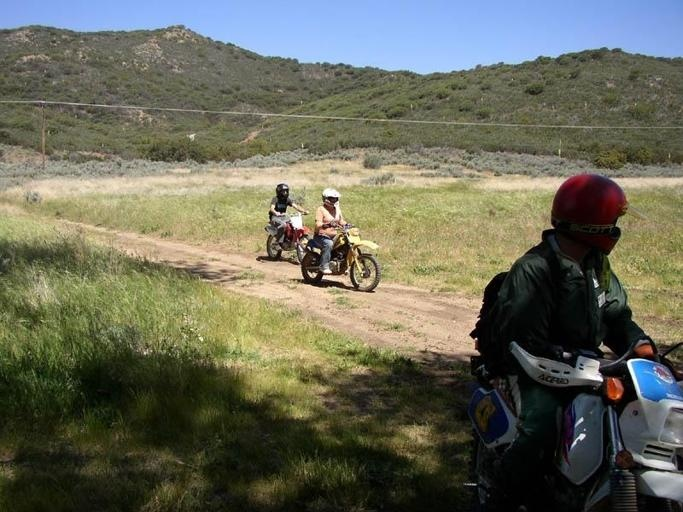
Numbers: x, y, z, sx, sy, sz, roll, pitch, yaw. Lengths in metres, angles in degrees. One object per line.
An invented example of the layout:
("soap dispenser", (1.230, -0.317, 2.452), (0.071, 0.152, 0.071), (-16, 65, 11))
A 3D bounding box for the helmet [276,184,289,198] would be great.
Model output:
("helmet", (-1.434, -1.601, 16.233), (0.332, 0.371, 0.387), (-5, 4, -41))

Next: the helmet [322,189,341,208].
("helmet", (-0.183, -1.180, 13.344), (0.374, 0.417, 0.470), (-6, 12, -35))

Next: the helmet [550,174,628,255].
("helmet", (1.821, -0.320, 4.895), (0.532, 0.613, 0.449), (-3, 19, -3))

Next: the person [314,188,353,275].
("person", (-0.263, -0.454, 13.315), (0.598, 1.760, 0.569), (3, 7, -4))

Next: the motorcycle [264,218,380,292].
("motorcycle", (-0.138, -0.059, 13.605), (0.938, 1.281, 2.465), (1, 7, -44))
